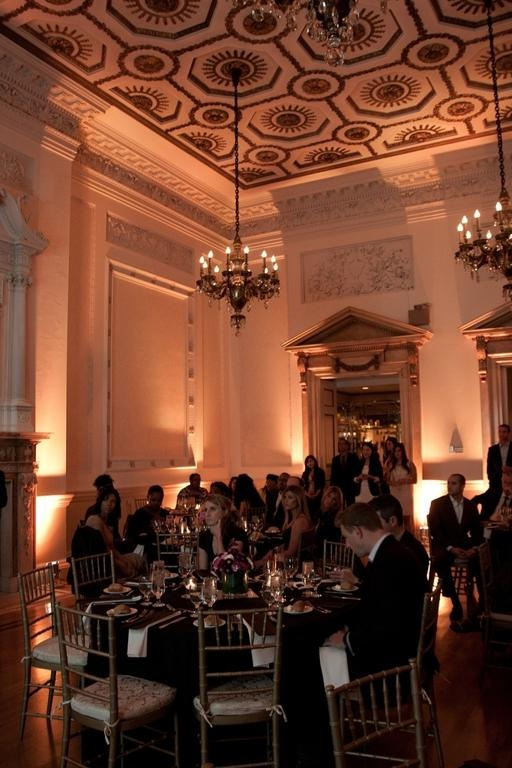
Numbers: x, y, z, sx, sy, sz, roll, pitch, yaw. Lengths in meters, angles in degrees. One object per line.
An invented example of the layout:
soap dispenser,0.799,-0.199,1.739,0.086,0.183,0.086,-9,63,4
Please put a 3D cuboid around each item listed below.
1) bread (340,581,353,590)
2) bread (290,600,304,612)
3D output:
bread,0.491,1.091,3.141,0.039,0.035,0.039,-2,0,4
bread,0.192,1.009,2.627,0.047,0.040,0.040,-3,-9,5
